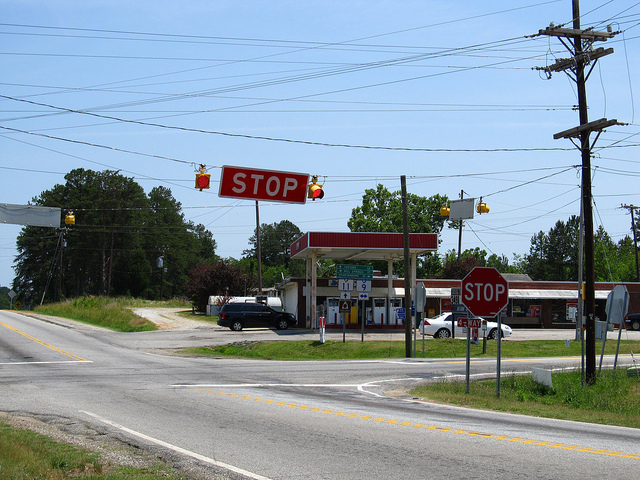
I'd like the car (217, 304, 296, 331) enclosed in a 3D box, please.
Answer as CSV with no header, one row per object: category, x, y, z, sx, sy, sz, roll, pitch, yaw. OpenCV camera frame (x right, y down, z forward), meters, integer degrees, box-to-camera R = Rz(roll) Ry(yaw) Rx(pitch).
car,-4.159,5.095,53.164,4.409,1.678,2.003,-1,-3,-11

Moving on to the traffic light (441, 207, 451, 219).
traffic light,5.962,-1.283,38.770,0.612,0.478,0.910,4,4,-1

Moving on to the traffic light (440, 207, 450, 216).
traffic light,5.854,-1.298,38.477,0.283,0.421,0.423,1,-5,12

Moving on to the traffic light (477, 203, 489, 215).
traffic light,7.436,-1.452,37.524,0.339,0.381,0.576,2,-2,-35

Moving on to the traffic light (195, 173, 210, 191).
traffic light,-4.219,-2.081,29.311,0.425,0.612,0.984,1,-1,-11

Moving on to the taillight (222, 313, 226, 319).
taillight,-6.179,4.876,52.101,0.211,0.433,0.217,1,1,-27

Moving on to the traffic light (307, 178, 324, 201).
traffic light,-0.193,-1.800,29.219,0.492,0.705,0.475,1,-1,-4
